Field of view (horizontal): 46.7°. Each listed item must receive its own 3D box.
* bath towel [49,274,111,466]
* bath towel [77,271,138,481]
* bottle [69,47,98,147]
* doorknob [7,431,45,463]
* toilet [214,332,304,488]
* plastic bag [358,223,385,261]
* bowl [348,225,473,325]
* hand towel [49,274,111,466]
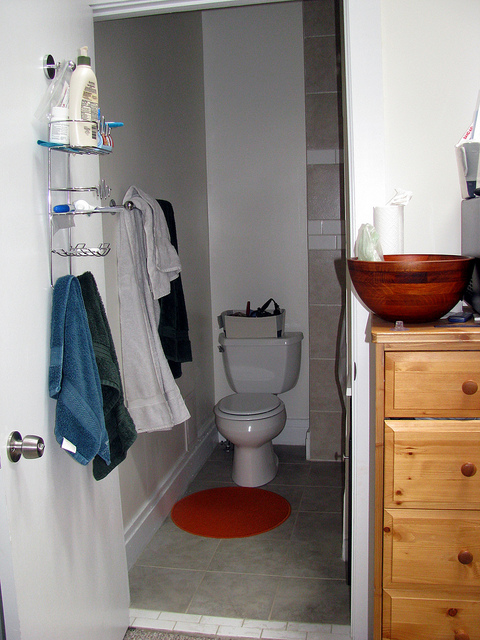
[{"bbox_3d":[-0.326,0.113,1.326,0.132,0.451,0.307,-2,6,-5],"label":"bath towel"},{"bbox_3d":[-0.355,0.144,1.564,0.157,0.554,0.290,-2,2,31],"label":"bath towel"},{"bbox_3d":[-0.360,-0.501,1.274,0.071,0.206,0.058,-4,7,-23],"label":"bottle"},{"bbox_3d":[-0.444,0.253,1.158,0.051,0.076,0.064,-1,-1,5],"label":"doorknob"},{"bbox_3d":[0.077,0.487,3.093,0.417,0.772,0.660,0,9,11],"label":"toilet"},{"bbox_3d":[0.297,-0.177,1.263,0.051,0.080,0.154,0,7,14],"label":"plastic bag"},{"bbox_3d":[0.352,-0.076,1.169,0.201,0.182,0.240,2,8,31],"label":"bowl"},{"bbox_3d":[-0.390,0.128,1.365,0.102,0.477,0.117,-4,-1,15],"label":"hand towel"}]
